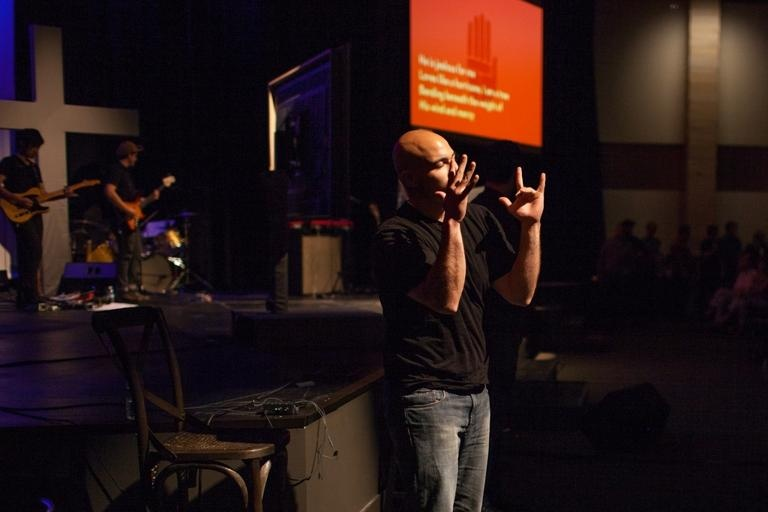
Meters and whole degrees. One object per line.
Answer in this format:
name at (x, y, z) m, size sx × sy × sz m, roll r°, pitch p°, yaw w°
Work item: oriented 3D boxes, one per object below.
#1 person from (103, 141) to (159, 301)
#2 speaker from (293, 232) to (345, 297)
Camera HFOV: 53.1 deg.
person at (-3.648, -0.520, 10.871) m, size 0.593 × 2.194 × 0.739 m, roll -1°, pitch 4°, yaw -17°
speaker at (-1.116, 0.157, 11.812) m, size 0.688 × 1.150 × 1.314 m, roll -2°, pitch -2°, yaw 19°
